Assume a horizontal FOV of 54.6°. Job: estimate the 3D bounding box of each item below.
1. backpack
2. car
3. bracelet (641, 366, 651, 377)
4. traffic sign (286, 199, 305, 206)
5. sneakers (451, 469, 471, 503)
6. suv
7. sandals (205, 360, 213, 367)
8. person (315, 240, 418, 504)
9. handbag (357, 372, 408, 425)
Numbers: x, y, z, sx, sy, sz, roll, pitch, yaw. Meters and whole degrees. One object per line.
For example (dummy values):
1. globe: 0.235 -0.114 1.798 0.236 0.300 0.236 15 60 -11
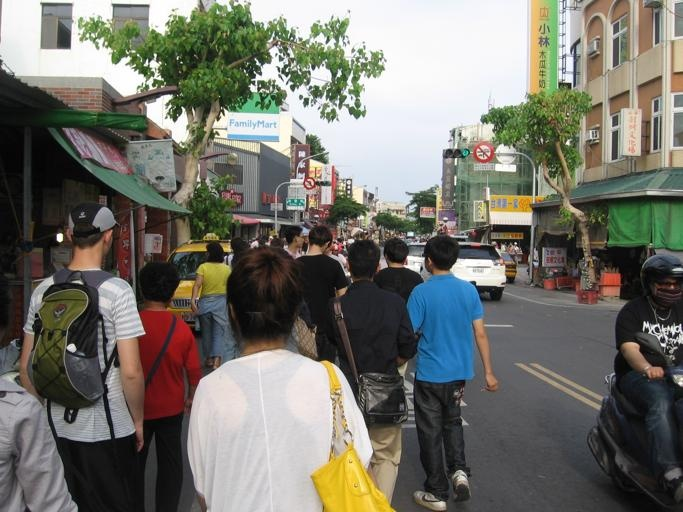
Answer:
1. backpack: -1.649 0.519 4.077 0.444 0.828 0.448 7 7 32
2. car: -3.166 0.431 13.625 1.339 1.633 2.693 0 -2 1
3. bracelet: 2.354 0.892 5.103 0.056 0.054 0.024 1 -2 -5
4. traffic sign: -2.383 -2.792 34.296 0.892 0.425 0.776 3 2 1
5. sneakers: 0.997 1.903 5.483 0.109 0.292 0.131 -4 44 4
6. suv: 4.098 0.663 22.301 1.945 1.726 4.585 1 7 -6
7. sandals: -1.869 1.512 9.341 0.087 0.142 0.057 3 3 -7
8. person: 0.245 1.034 5.392 0.650 2.441 0.601 4 17 12
9. handbag: 0.289 1.047 4.871 0.405 0.442 0.225 2 -14 -23
